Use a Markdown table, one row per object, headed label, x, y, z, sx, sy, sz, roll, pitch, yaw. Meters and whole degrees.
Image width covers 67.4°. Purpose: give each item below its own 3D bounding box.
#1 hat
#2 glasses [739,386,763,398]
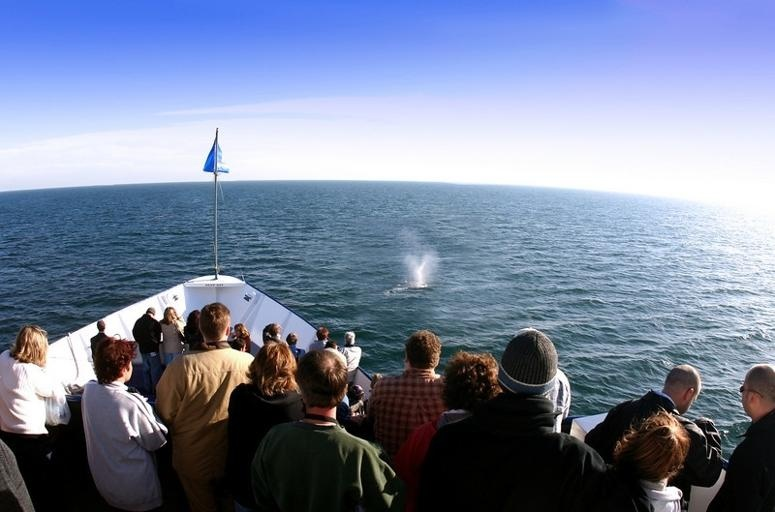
| label | x | y | z | sx | sy | sz | roll | pitch | yaw |
| --- | --- | --- | --- | --- | --- | --- | --- | --- | --- |
| hat | 1.585 | 1.234 | 6.742 | 0.619 | 0.656 | 0.786 | 9 | 29 | 4 |
| glasses | 4.670 | 1.747 | 7.503 | 0.225 | 0.069 | 0.211 | 32 | -26 | -10 |
